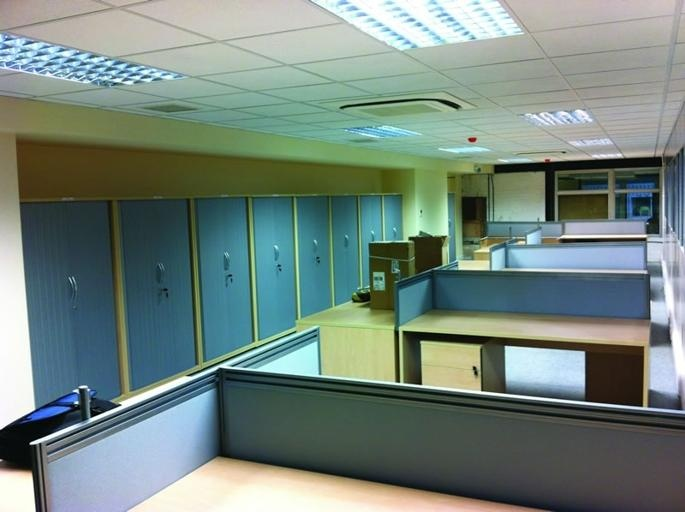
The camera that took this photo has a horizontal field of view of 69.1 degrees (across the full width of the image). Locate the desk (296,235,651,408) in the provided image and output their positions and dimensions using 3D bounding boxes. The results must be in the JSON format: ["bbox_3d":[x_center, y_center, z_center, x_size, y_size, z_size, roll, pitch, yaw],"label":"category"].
[{"bbox_3d":[1.658,0.594,5.198,2.581,1.352,3.557,2,11,29],"label":"desk"}]
